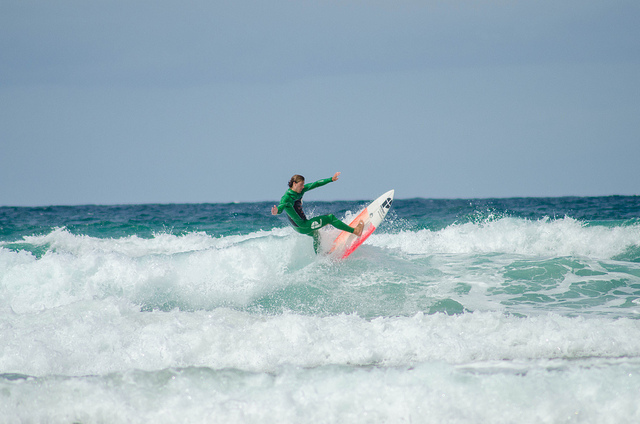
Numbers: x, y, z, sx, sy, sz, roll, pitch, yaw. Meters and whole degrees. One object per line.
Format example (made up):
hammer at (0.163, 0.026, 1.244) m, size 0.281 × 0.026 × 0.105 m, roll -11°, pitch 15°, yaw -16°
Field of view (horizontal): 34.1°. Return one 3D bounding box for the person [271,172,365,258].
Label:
person at (-0.080, 0.369, 25.736) m, size 1.285 × 1.570 × 1.071 m, roll -30°, pitch 37°, yaw -5°

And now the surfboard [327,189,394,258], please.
surfboard at (1.156, 0.578, 26.591) m, size 0.320 × 3.050 × 0.637 m, roll 42°, pitch -27°, yaw -4°
